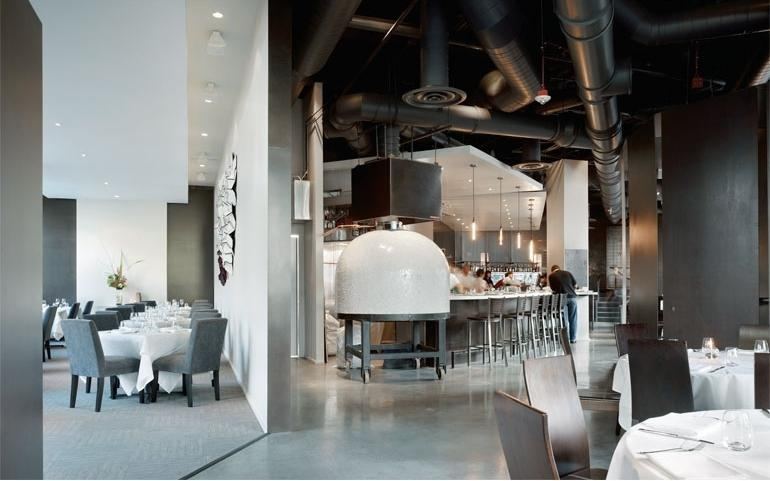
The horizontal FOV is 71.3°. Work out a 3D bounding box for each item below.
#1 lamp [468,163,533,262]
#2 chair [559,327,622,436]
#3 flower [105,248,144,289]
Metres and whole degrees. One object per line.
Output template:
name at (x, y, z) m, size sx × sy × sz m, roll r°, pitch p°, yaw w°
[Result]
lamp at (3.794, -1.087, 17.778) m, size 2.410 × 1.338 × 5.808 m, roll 1°, pitch -10°, yaw 6°
chair at (2.903, 1.986, 7.560) m, size 0.957 × 1.099 × 1.400 m, roll -4°, pitch -4°, yaw 27°
flower at (-7.647, 0.899, 15.574) m, size 0.775 × 0.750 × 0.662 m, roll 5°, pitch -18°, yaw 8°
